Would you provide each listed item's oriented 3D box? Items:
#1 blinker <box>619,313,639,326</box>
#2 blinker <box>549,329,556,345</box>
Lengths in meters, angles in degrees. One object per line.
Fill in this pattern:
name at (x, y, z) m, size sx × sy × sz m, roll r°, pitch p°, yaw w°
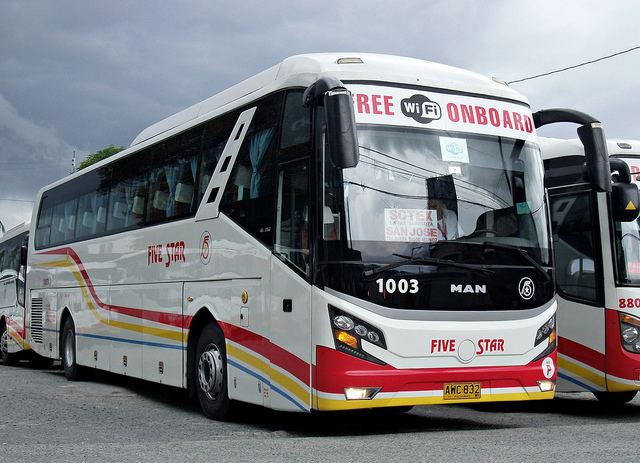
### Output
blinker at (4.615, 1.294, 7.677) m, size 0.167 × 0.070 × 0.134 m, roll 14°, pitch -2°, yaw 19°
blinker at (2.901, 1.301, 6.435) m, size 0.102 × 0.143 × 0.135 m, roll 10°, pitch 45°, yaw 22°
